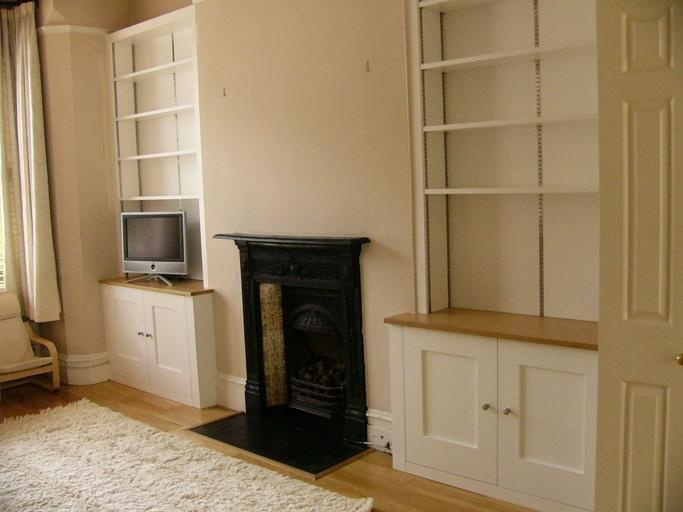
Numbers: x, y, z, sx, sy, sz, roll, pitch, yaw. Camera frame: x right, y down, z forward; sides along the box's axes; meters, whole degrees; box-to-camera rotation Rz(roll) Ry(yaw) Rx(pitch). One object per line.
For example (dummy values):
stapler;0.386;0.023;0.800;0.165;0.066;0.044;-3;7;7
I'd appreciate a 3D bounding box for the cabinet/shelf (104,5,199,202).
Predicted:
cabinet/shelf;-1.648;-1.273;5.284;0.406;1.583;1.135;-6;8;-39

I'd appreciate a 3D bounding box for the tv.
tv;-1.687;-0.123;5.301;0.782;0.551;0.168;5;8;40

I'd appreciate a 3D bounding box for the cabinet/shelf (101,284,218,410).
cabinet/shelf;-1.526;0.774;5.079;1.000;0.736;0.352;4;6;39
